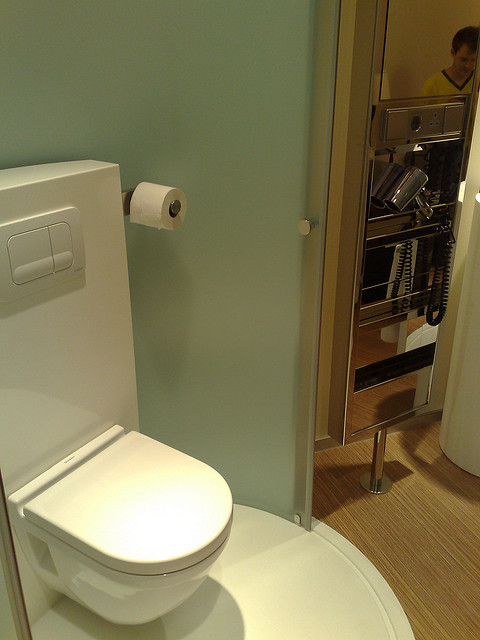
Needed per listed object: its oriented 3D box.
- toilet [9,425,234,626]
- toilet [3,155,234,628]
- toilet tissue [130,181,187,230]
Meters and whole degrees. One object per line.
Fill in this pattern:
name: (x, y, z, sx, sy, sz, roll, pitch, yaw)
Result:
toilet: (-0.215, 0.473, 1.026, 0.411, 0.325, 0.295, 13, 24, 29)
toilet: (-0.268, 0.172, 0.976, 0.375, 0.890, 0.556, -13, 25, -33)
toilet tissue: (-0.178, -0.245, 1.090, 0.104, 0.097, 0.087, 12, 13, 35)
